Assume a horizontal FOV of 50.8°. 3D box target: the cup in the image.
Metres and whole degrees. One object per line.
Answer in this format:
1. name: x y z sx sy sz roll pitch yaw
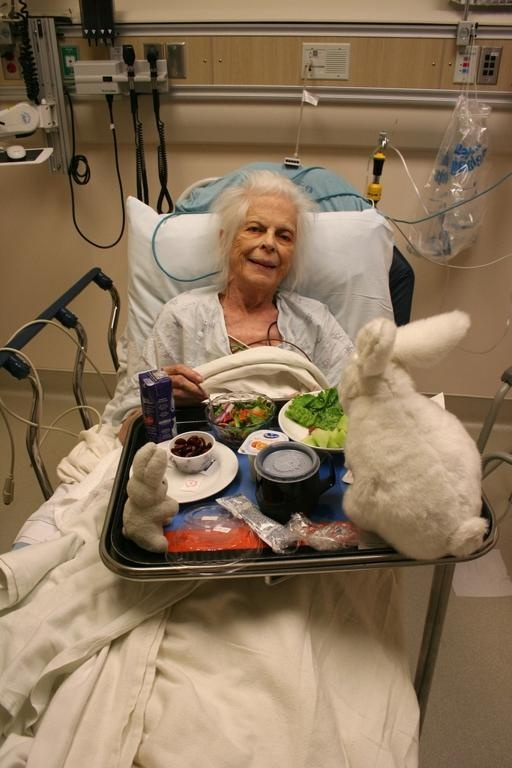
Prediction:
1. cup: 0.060 0.159 0.919 0.130 0.099 0.100 -16 43 -11

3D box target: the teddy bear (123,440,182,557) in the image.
1. teddy bear: -0.170 0.178 0.848 0.084 0.142 0.149 -4 34 -6
